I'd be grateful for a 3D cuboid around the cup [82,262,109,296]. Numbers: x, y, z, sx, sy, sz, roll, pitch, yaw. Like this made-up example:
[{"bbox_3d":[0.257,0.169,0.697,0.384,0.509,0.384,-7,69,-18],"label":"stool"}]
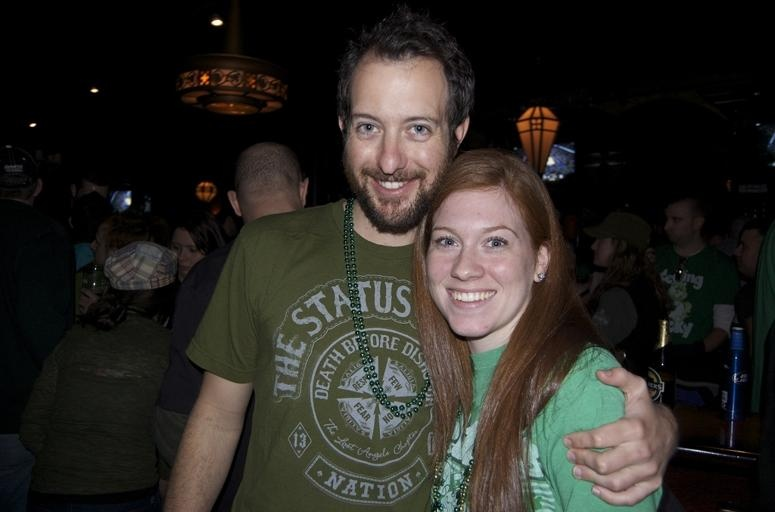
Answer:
[{"bbox_3d":[-2.746,0.228,5.666,0.174,0.179,0.307,0,-6,-23],"label":"cup"}]
